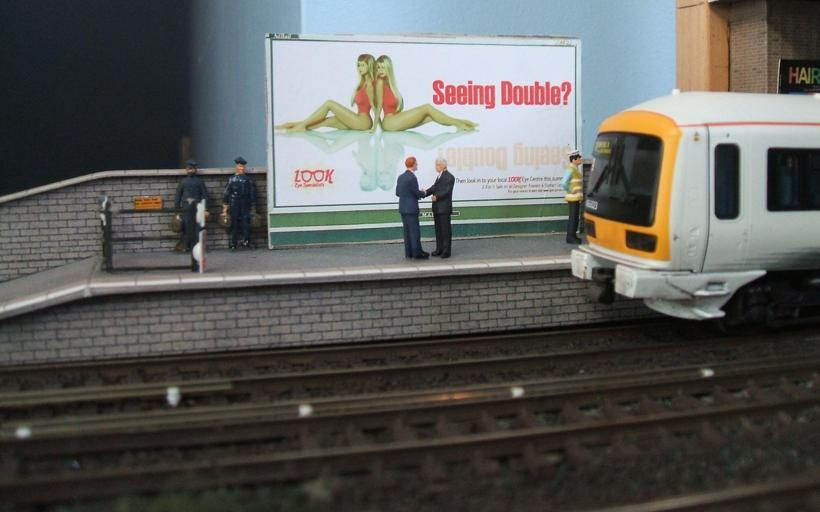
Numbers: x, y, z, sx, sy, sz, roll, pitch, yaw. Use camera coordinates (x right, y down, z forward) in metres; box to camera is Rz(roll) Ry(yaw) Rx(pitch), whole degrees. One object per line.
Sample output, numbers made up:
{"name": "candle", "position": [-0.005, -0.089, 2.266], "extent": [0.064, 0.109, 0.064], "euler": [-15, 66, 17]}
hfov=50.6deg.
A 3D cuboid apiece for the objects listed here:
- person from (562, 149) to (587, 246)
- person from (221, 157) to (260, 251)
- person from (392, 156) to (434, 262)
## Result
{"name": "person", "position": [3.707, -1.322, 19.550], "extent": [0.404, 1.985, 0.693], "euler": [0, 15, 9]}
{"name": "person", "position": [-3.820, -1.166, 19.553], "extent": [0.729, 1.971, 0.384], "euler": [-5, 15, -10]}
{"name": "person", "position": [0.103, -0.849, 18.227], "extent": [0.608, 1.775, 0.795], "euler": [-3, 15, -3]}
